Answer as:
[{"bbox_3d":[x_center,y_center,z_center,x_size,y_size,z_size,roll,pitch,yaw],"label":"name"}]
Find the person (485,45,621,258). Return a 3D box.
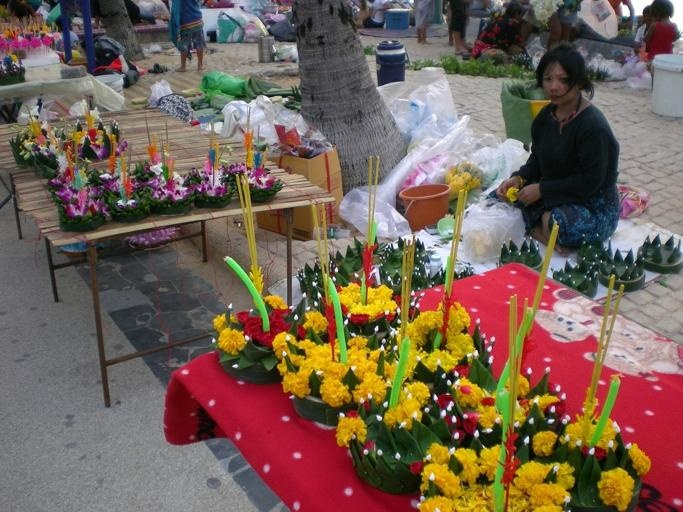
[{"bbox_3d":[1.746,-0.814,4.461,0.758,1.568,0.538,7,23,25],"label":"person"}]

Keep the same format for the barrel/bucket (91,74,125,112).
[{"bbox_3d":[-2.744,-1.958,6.840,0.287,0.417,1.270,-10,24,-17],"label":"barrel/bucket"}]

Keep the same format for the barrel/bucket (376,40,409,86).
[{"bbox_3d":[0.628,-2.512,7.520,0.382,0.537,0.442,1,22,11],"label":"barrel/bucket"}]

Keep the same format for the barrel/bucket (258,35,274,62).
[{"bbox_3d":[-1.437,-3.952,11.064,0.325,0.496,0.454,-2,16,-10],"label":"barrel/bucket"}]

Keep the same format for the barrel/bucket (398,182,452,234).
[{"bbox_3d":[0.737,-0.432,5.115,0.442,0.363,0.388,-1,22,7],"label":"barrel/bucket"}]

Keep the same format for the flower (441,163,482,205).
[{"bbox_3d":[1.064,-0.649,5.291,0.314,0.294,0.487,10,26,29],"label":"flower"}]

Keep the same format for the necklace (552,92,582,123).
[{"bbox_3d":[1.709,-1.109,4.368,0.174,0.265,0.103,0,-8,-6],"label":"necklace"}]

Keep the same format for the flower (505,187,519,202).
[{"bbox_3d":[1.388,-0.503,4.737,0.112,0.052,0.103,-21,43,60],"label":"flower"}]
